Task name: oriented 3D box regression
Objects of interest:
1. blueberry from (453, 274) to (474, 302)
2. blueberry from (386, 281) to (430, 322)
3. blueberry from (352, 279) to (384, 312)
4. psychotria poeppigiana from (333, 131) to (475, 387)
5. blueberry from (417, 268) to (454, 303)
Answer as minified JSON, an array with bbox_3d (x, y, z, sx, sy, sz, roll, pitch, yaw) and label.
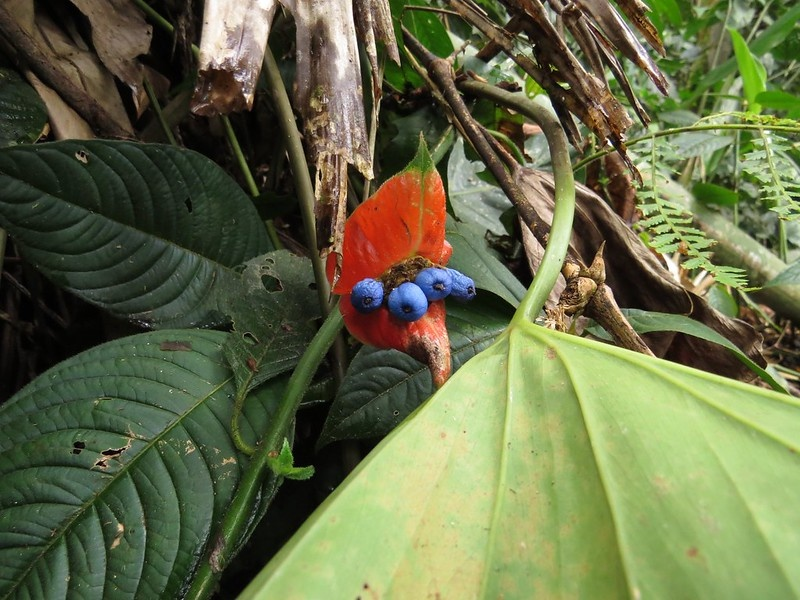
[{"bbox_3d":[0.086,-0.019,0.959,0.024,0.027,0.032,-12,33,-42],"label":"blueberry"},{"bbox_3d":[0.008,0.003,0.906,0.042,0.046,0.026,-26,-1,-6],"label":"blueberry"},{"bbox_3d":[-0.041,-0.006,0.913,0.035,0.039,0.022,-25,4,-3],"label":"blueberry"},{"bbox_3d":[0.004,-0.052,0.914,0.189,0.296,0.125,2,11,-8],"label":"psychotria poeppigiana"},{"bbox_3d":[0.042,-0.020,0.922,0.036,0.044,0.053,-10,8,-4],"label":"blueberry"}]
